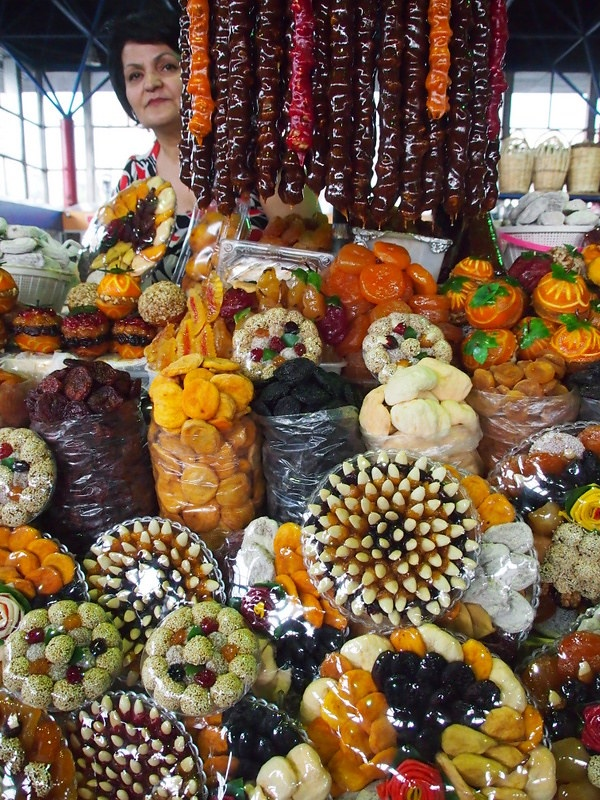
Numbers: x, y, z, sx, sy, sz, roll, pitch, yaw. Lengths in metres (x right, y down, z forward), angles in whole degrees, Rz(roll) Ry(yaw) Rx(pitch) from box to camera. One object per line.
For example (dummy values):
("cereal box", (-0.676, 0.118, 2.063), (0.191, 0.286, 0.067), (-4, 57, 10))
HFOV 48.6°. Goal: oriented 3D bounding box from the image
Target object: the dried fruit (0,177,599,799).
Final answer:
("dried fruit", (0.008, 0.196, 1.460), (1.272, 0.262, 1.104), (1, 39, 3))
